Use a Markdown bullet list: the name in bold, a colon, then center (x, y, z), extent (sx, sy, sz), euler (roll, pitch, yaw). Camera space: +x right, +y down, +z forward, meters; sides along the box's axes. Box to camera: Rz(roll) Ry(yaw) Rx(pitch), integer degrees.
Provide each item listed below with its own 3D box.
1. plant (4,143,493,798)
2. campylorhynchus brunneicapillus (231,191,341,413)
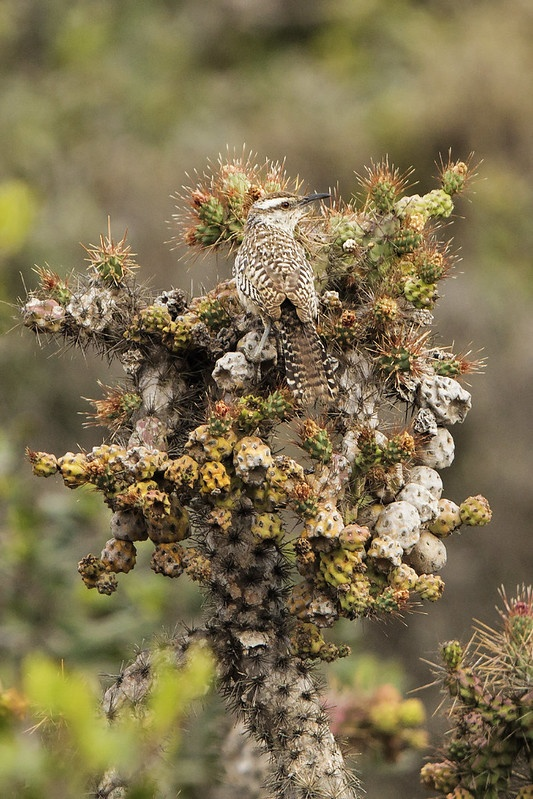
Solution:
- **plant**: center (0.027, 0.421, 5.823), extent (1.514, 1.871, 1.878), euler (4, 48, 4)
- **campylorhynchus brunneicapillus**: center (0.062, -0.366, 5.586), extent (0.492, 0.725, 0.614), euler (-7, 25, -6)
